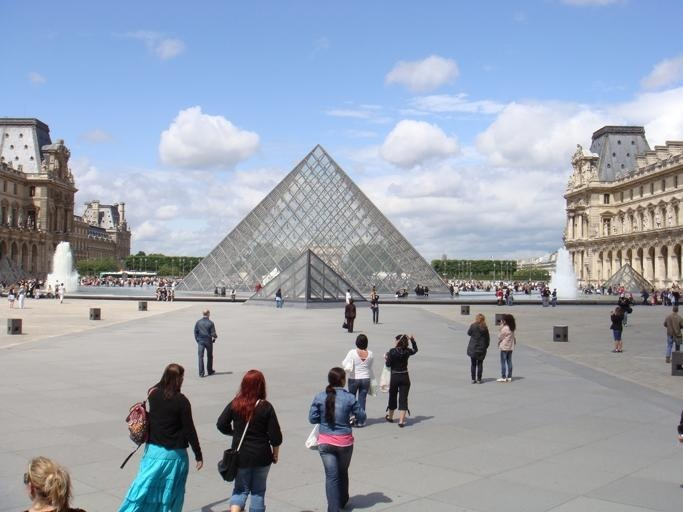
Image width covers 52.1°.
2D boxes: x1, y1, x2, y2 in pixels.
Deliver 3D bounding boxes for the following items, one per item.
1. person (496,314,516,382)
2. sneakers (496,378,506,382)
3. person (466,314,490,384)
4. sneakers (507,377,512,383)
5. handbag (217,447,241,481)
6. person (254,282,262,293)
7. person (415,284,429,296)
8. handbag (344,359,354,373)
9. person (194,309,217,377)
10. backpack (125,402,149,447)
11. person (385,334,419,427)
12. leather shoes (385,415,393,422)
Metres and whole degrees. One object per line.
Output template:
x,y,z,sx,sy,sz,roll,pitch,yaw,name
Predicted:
3.218,1.755,13.768,0.319,1.261,1.682,0,-4,12,person
3.008,2.319,13.235,0.144,0.055,0.061,2,1,34,sneakers
2.580,1.719,13.298,0.374,1.270,1.267,0,-4,11,person
3.172,2.325,13.221,0.062,0.075,0.114,-2,-2,34,sneakers
-1.135,2.057,6.964,0.186,0.320,0.228,2,-4,-16,handbag
-4.954,1.779,41.119,0.242,0.831,0.547,3,6,31,person
5.171,2.141,45.322,0.841,0.768,1.593,0,-4,3,person
0.105,1.600,10.233,0.173,0.259,0.269,-2,0,3,handbag
-2.729,1.685,13.981,0.386,1.236,1.661,1,-4,-10,person
-2.020,1.648,6.901,0.190,0.457,0.450,2,-4,-16,backpack
0.887,1.819,10.533,0.467,1.290,1.004,0,-4,4,person
0.694,2.379,10.403,0.073,0.138,0.145,0,32,-10,leather shoes
